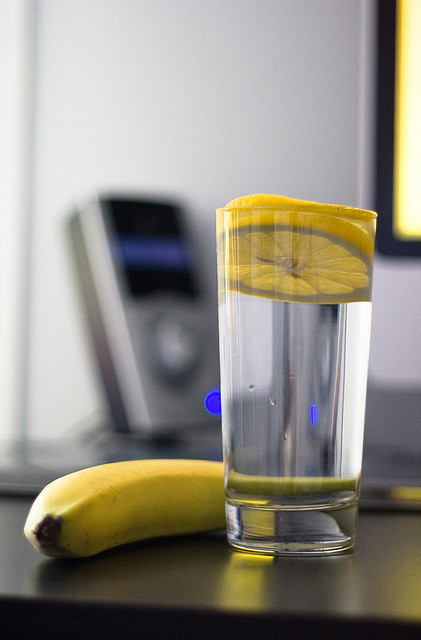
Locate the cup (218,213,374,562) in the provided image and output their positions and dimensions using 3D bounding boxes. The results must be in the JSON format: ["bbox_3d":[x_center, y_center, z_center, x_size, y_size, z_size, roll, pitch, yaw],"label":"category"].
[{"bbox_3d":[0.057,0.039,0.494,0.109,0.225,0.140,1,23,12],"label":"cup"}]

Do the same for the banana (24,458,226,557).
[{"bbox_3d":[-0.050,0.139,0.548,0.061,0.057,0.211,6,5,38],"label":"banana"}]
